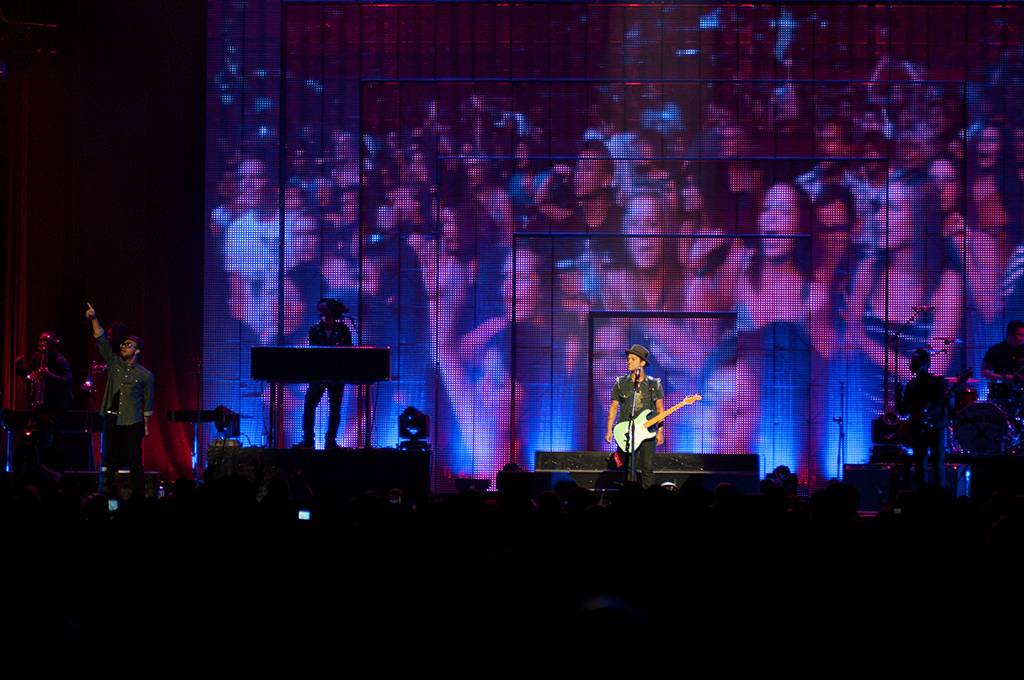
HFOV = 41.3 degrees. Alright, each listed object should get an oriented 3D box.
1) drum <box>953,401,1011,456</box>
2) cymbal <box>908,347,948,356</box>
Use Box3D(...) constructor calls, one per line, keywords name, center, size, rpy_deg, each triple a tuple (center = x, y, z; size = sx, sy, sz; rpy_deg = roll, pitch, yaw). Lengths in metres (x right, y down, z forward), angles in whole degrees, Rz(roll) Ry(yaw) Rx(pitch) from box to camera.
Box3D(name="drum", center=(5.275, 1.051, 15.294), size=(0.566, 0.627, 0.291), rpy_deg=(0, -7, 6))
Box3D(name="cymbal", center=(5.268, 0.165, 17.235), size=(0.393, 0.127, 0.289), rpy_deg=(1, 0, 23))
